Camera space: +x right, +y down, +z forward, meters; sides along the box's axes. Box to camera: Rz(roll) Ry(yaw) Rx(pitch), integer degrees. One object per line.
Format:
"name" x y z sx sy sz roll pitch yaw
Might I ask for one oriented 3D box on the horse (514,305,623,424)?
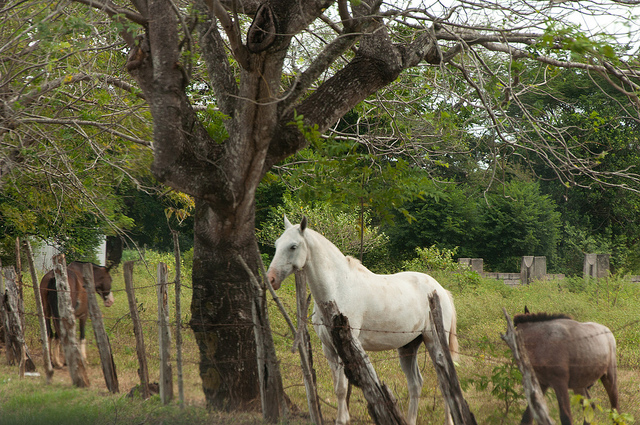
"horse" 5.521 3.363 19.684 2.137 2.530 0.829 2 -11 -18

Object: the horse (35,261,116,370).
"horse" -6.854 2.675 23.740 1.103 2.946 4.365 3 -4 15
